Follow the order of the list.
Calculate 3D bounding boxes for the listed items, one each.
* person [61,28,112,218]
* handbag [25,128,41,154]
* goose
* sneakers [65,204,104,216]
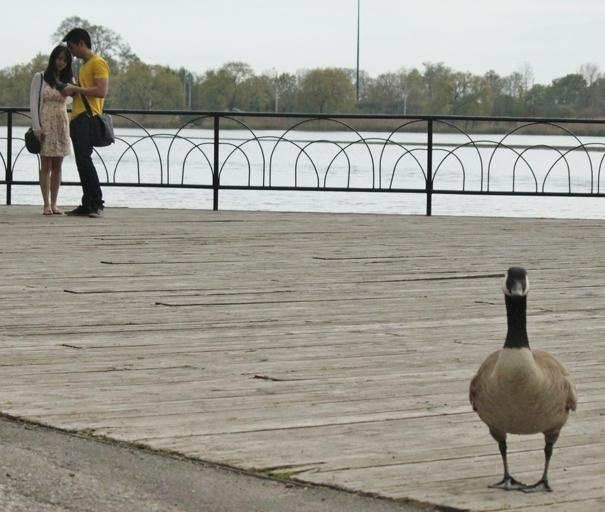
[{"bbox_3d":[-1.495,-0.930,8.762,0.314,1.334,0.476,0,4,-10],"label":"person"},{"bbox_3d":[-1.855,-0.795,8.709,0.104,0.178,0.232,-1,4,-12],"label":"handbag"},{"bbox_3d":[0.746,0.421,4.284,0.356,0.767,0.223,1,4,4],"label":"goose"},{"bbox_3d":[-1.536,-0.310,8.935,0.275,0.105,0.093,3,1,2],"label":"sneakers"}]
